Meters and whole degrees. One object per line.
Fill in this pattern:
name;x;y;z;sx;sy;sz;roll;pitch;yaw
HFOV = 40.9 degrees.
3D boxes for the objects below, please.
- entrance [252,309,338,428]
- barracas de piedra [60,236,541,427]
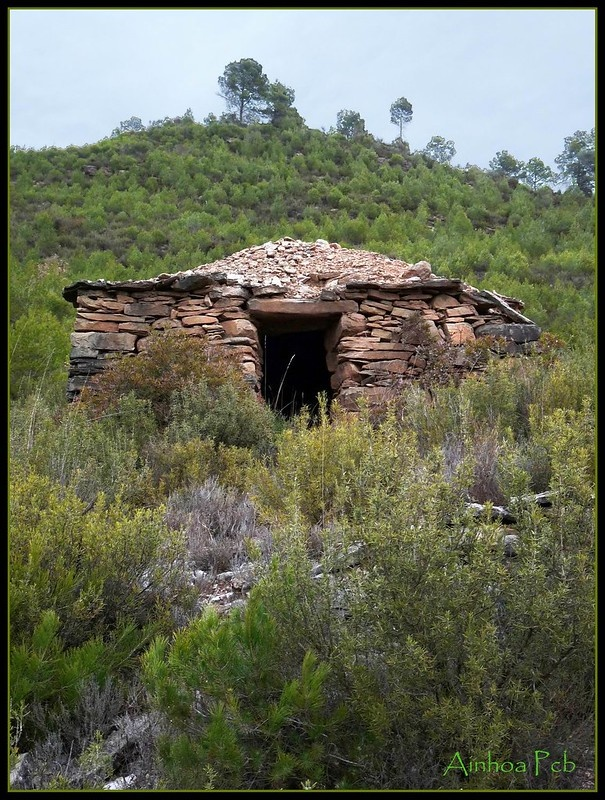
entrance;-0.098;-0.442;10.380;0.733;1.465;0.896;-1;-1;-4
barracas de piedra;-0.063;-0.809;8.194;4.268;1.635;2.266;-13;13;-9
